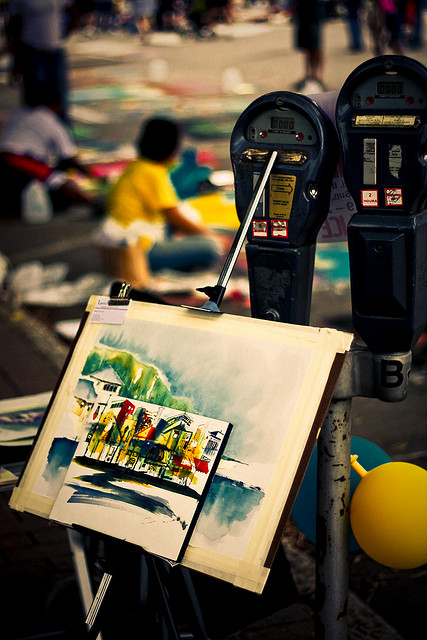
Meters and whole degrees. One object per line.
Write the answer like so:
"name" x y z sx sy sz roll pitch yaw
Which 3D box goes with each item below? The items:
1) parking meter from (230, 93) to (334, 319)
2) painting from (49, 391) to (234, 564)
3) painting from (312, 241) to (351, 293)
"parking meter" 0.191 -0.266 1.465 0.251 0.575 0.293 -7 32 4
"painting" -0.129 0.290 1.091 0.392 0.041 0.302 13 71 46
"painting" 0.891 -0.385 4.292 0.345 0.421 0.048 0 -2 17
